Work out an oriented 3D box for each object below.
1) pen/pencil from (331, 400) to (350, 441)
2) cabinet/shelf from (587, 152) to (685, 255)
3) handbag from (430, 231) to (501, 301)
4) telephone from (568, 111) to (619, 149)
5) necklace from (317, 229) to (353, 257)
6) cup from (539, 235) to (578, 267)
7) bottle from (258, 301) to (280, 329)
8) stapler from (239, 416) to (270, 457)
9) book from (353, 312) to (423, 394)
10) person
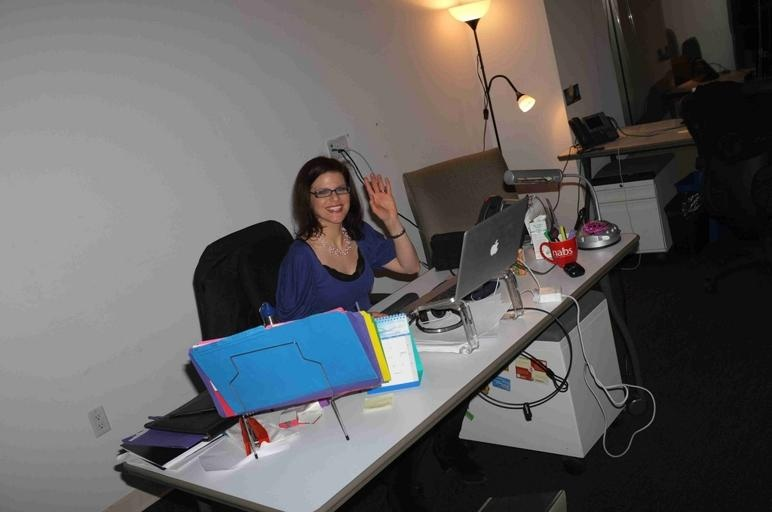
[{"bbox_3d":[-0.186,0.670,2.102,0.024,0.147,0.022,-24,-5,10],"label":"pen/pencil"},{"bbox_3d":[2.125,-0.480,4.645,0.703,0.892,1.015,2,13,27],"label":"cabinet/shelf"},{"bbox_3d":[0.397,0.050,2.549,0.269,0.257,0.185,-16,26,-11],"label":"handbag"},{"bbox_3d":[1.850,-1.113,4.593,0.443,0.305,0.224,-22,0,-24],"label":"telephone"},{"bbox_3d":[-0.280,-0.076,2.857,0.145,0.167,0.042,-39,26,-26],"label":"necklace"},{"bbox_3d":[0.921,-0.020,2.787,0.192,0.140,0.126,-17,3,25],"label":"cup"},{"bbox_3d":[-0.493,0.250,2.250,0.102,0.110,0.279,-4,-3,-10],"label":"bottle"},{"bbox_3d":[-0.535,0.716,2.080,0.146,0.059,0.114,16,21,35],"label":"stapler"},{"bbox_3d":[0.043,0.379,2.072,0.277,0.285,0.075,-7,-6,4],"label":"book"},{"bbox_3d":[-0.271,-0.123,3.015,0.350,1.191,0.679,7,34,38],"label":"person"}]
